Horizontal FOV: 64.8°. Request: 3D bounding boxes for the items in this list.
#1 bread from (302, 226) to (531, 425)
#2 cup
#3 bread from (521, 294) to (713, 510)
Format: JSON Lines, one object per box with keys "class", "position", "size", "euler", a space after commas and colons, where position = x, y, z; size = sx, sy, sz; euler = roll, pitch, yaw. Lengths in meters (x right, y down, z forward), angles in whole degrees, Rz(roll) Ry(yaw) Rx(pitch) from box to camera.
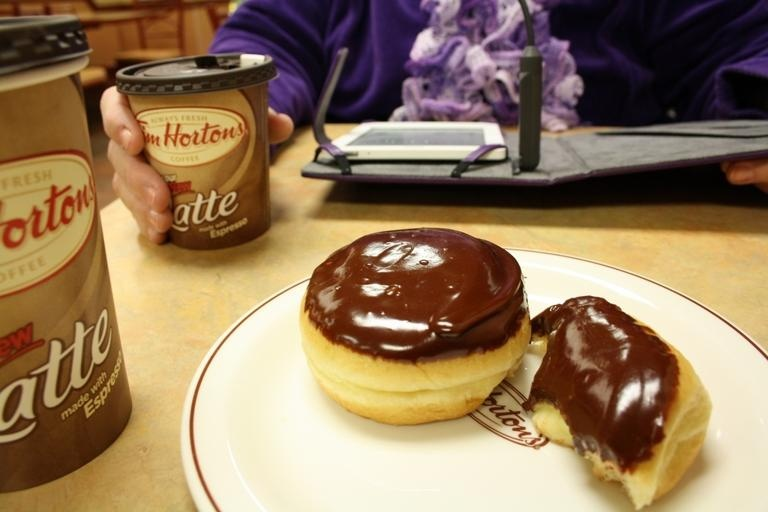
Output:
{"class": "bread", "position": [0.068, 0.091, 0.939], "size": [0.301, 0.146, 0.296], "euler": [-29, 43, -27]}
{"class": "cup", "position": [-0.327, -0.200, 1.174], "size": [0.283, 0.405, 0.238], "euler": [-4, 14, -9]}
{"class": "bread", "position": [0.318, 0.195, 0.845], "size": [0.170, 0.131, 0.236], "euler": [-24, 41, -32]}
